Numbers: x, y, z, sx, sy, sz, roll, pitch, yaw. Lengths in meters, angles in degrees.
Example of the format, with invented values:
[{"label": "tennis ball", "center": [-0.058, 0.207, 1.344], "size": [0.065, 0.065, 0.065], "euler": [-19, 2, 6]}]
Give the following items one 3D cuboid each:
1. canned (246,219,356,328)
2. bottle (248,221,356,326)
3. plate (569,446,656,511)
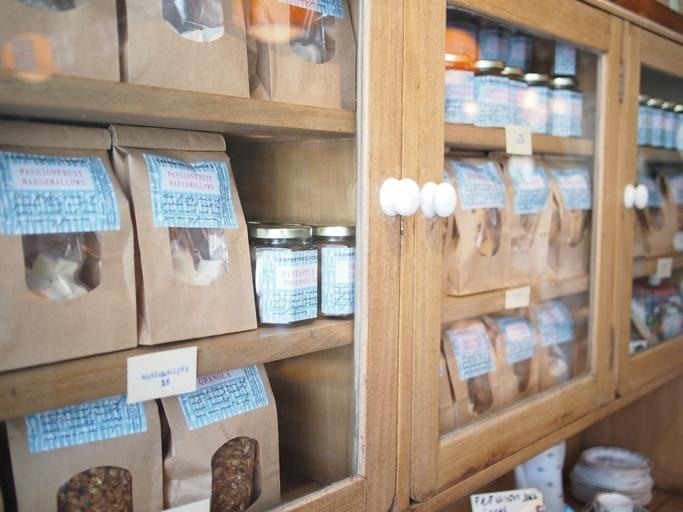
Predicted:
[{"label": "canned", "center": [-0.070, 0.035, 0.979], "size": [0.197, 0.185, 0.136], "euler": [-5, 7, -33]}, {"label": "bottle", "center": [-0.067, 0.031, 0.981], "size": [0.195, 0.183, 0.137], "euler": [-5, 6, -28]}, {"label": "plate", "center": [0.846, 0.675, 1.664], "size": [0.184, 0.116, 0.188], "euler": [-2, 0, 10]}]
